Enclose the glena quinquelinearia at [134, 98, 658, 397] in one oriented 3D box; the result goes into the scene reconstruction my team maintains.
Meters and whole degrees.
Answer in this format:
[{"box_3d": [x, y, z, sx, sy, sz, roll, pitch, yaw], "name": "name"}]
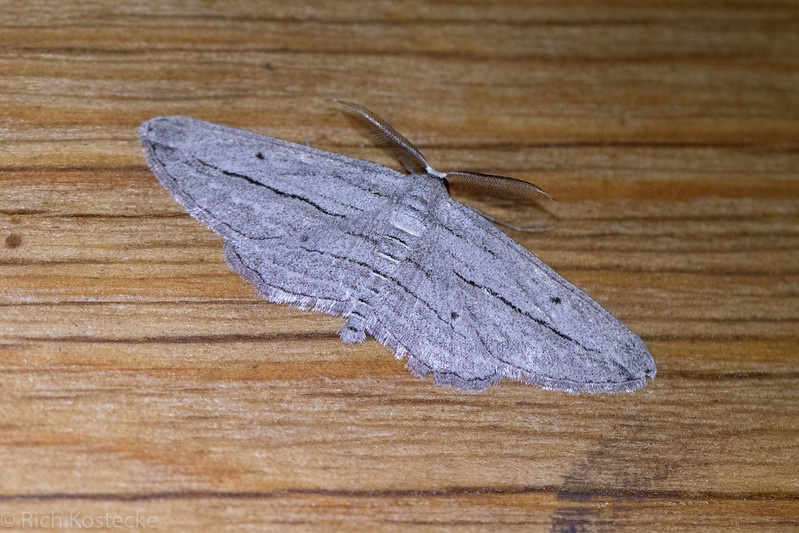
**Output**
[{"box_3d": [-0.048, -0.030, 8.646, 3.560, 1.395, 0.544, 14, 15, 5], "name": "glena quinquelinearia"}]
